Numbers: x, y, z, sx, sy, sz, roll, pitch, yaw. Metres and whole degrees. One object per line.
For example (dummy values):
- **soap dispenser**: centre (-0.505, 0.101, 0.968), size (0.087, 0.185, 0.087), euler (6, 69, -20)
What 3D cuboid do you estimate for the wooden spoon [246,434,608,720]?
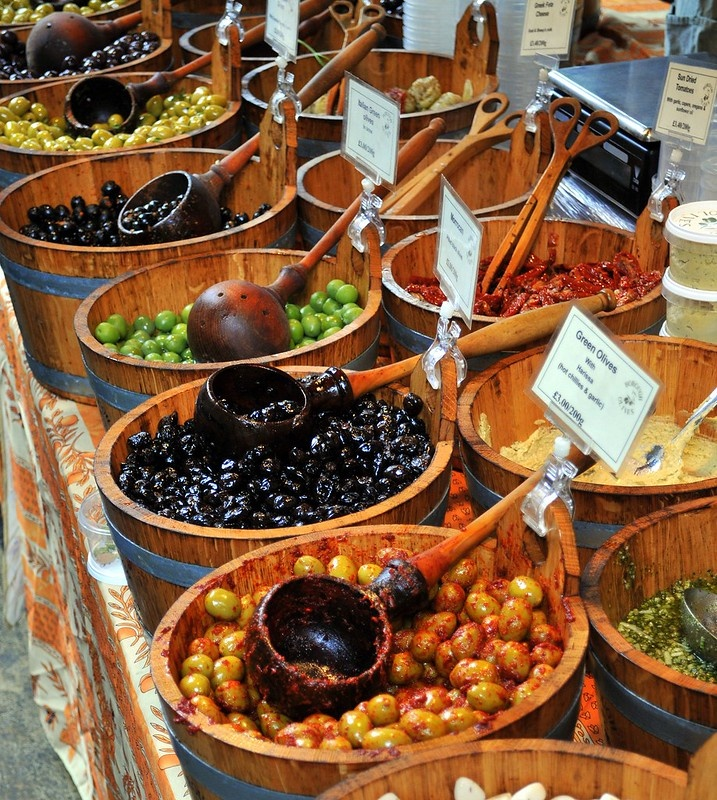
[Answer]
- **wooden spoon**: centre (0.106, 0.249, 1.150), size (0.205, 0.206, 0.668), euler (27, 36, 33)

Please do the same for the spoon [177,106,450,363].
- **spoon**: centre (-0.029, -0.403, 1.928), size (0.282, 0.254, 1.018), euler (41, 58, 13)

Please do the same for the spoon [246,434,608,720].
- **spoon**: centre (0.105, 0.246, 1.148), size (0.205, 0.206, 0.668), euler (27, 36, 33)

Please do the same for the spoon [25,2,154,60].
- **spoon**: centre (-1.197, -1.602, 3.287), size (0.644, 0.207, 0.218), euler (-25, 47, -34)

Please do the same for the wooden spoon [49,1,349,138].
- **wooden spoon**: centre (-0.382, -1.342, 3.090), size (1.651, 0.251, 0.365), euler (-23, 42, -15)

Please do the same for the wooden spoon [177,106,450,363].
- **wooden spoon**: centre (-0.038, -0.411, 1.925), size (0.282, 0.254, 1.018), euler (41, 58, 13)
